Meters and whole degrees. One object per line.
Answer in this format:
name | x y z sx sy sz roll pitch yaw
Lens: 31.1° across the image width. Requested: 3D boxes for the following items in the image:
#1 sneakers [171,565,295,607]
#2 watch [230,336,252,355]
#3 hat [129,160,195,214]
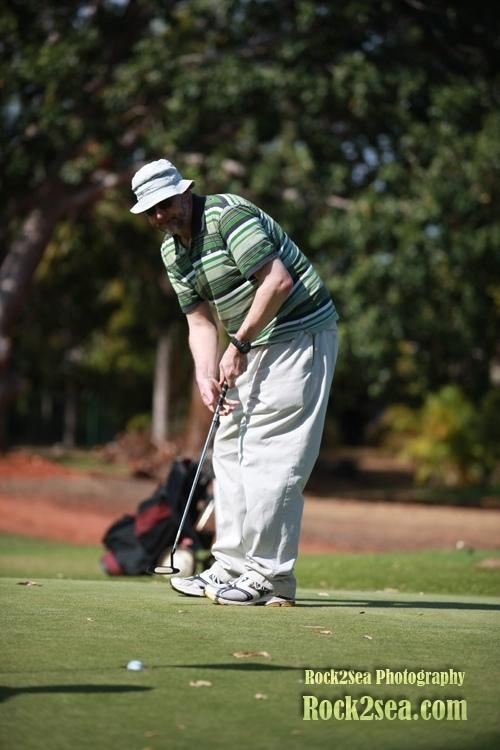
sneakers | -0.075 0.753 3.181 0.437 0.151 0.157 6 77 7
watch | -0.035 -0.109 3.113 0.062 0.059 0.059 7 64 42
hat | -0.317 -0.648 3.208 0.187 0.118 0.225 -35 8 -3
